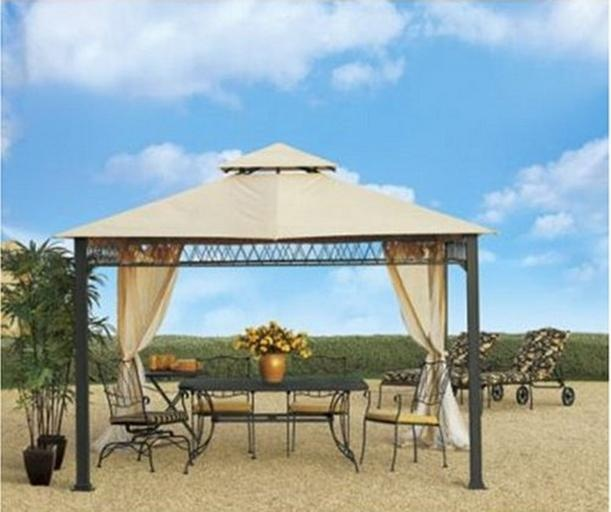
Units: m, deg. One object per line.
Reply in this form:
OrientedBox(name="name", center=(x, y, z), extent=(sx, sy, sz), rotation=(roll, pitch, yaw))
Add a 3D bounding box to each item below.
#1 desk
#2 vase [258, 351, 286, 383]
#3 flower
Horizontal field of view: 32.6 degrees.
OrientedBox(name="desk", center=(-0.708, 3.486, 21.812), extent=(3.838, 1.901, 1.546), rotation=(1, 3, 0))
OrientedBox(name="vase", center=(-0.707, 2.299, 21.625), extent=(0.475, 0.660, 0.521), rotation=(2, -11, -20))
OrientedBox(name="flower", center=(-0.689, 1.773, 21.896), extent=(0.940, 0.724, 1.094), rotation=(3, -7, -6))
